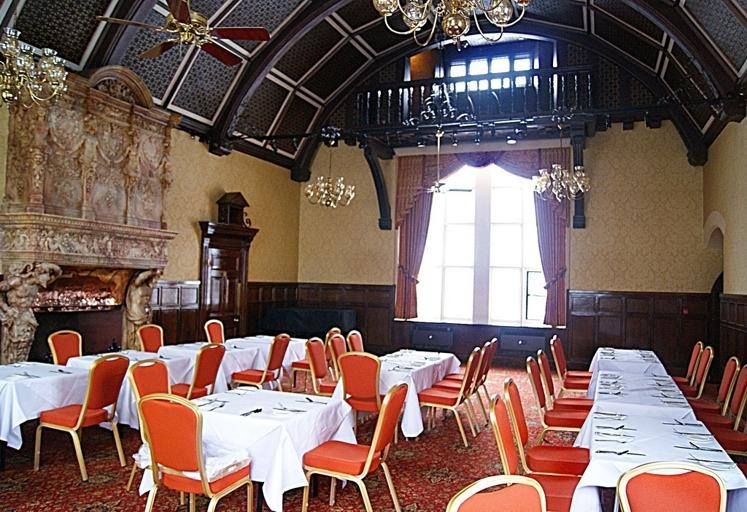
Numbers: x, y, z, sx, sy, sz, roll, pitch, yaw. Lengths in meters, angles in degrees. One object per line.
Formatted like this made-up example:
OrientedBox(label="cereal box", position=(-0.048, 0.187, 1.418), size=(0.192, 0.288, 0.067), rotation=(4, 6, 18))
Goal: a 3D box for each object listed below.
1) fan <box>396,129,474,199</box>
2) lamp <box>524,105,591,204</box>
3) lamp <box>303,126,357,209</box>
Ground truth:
OrientedBox(label="fan", position=(1.475, -2.101, 12.208), size=(1.356, 1.431, 1.407), rotation=(1, 9, 14))
OrientedBox(label="lamp", position=(3.444, -1.761, 9.589), size=(0.673, 1.114, 0.695), rotation=(-1, -3, -23))
OrientedBox(label="lamp", position=(-0.917, -1.829, 11.278), size=(1.022, 1.616, 1.057), rotation=(2, 8, -5))
